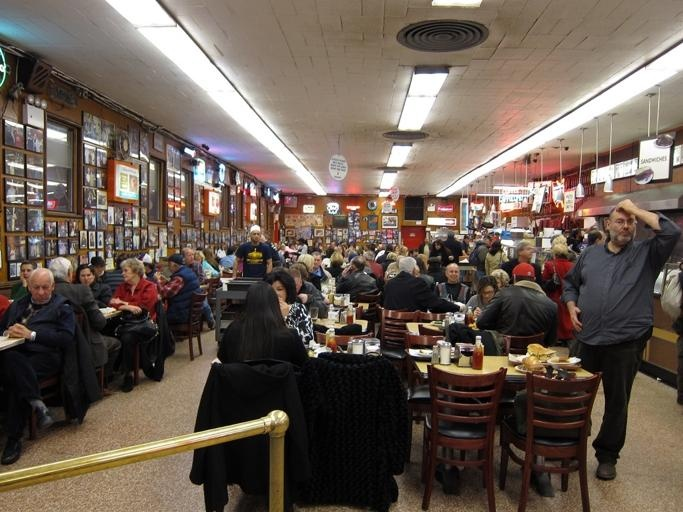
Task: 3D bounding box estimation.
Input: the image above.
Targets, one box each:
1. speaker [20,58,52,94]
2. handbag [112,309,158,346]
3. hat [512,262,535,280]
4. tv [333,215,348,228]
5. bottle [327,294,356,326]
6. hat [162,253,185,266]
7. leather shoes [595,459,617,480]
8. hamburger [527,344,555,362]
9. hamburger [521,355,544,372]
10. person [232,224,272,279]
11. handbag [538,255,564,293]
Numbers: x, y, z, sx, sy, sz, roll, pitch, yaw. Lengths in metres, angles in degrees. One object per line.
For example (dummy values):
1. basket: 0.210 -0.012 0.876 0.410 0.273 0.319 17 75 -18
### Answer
1. speaker: -4.296 -2.512 6.764 0.327 0.433 0.305 0 3 -12
2. handbag: -2.920 0.973 6.752 0.540 0.224 0.437 1 -39 -1
3. hat: 2.828 0.228 7.487 0.226 0.191 0.347 4 2 11
4. tv: -0.121 -1.748 24.904 0.619 0.759 0.105 -4 -3 -12
5. bottle: -0.013 0.729 6.466 0.298 0.202 0.500 1 0 -2
6. hat: -2.892 0.038 8.371 0.283 0.151 0.200 19 15 40
7. leather shoes: 2.520 2.024 4.604 0.103 0.111 0.235 -1 -6 11
8. hamburger: 1.828 0.881 4.485 0.164 0.073 0.168 3 -2 5
9. hamburger: 1.726 0.966 4.345 0.121 0.093 0.169 -2 1 8
10. person: -1.754 0.231 9.588 0.755 1.723 0.453 -1 23 -10
11. handbag: 3.396 0.341 7.938 0.371 0.470 0.492 0 -5 2
